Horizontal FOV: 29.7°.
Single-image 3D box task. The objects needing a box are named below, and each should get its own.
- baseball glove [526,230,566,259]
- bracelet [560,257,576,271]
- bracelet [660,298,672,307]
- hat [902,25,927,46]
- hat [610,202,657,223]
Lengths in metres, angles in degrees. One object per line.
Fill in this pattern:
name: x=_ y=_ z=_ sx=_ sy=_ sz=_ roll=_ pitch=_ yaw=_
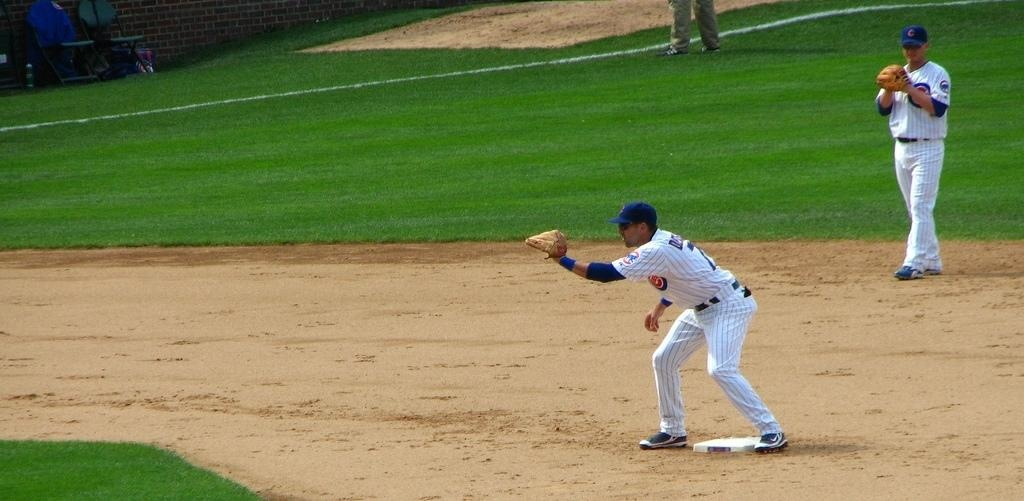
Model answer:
baseball glove: x=0.752 y=-0.175 z=37.988 sx=0.907 sy=0.491 sz=0.301 roll=0 pitch=49 yaw=-1
bracelet: x=1.220 y=0.272 z=37.920 sx=0.418 sy=0.176 sz=0.177 roll=19 pitch=26 yaw=16
bracelet: x=3.105 y=1.032 z=38.305 sx=0.159 sy=0.172 sz=0.210 roll=-39 pitch=-34 yaw=24
hat: x=8.704 y=-4.547 z=41.182 sx=0.511 sy=0.273 sz=0.625 roll=4 pitch=7 yaw=23
hat: x=2.444 y=-0.726 z=38.025 sx=0.856 sy=0.261 sz=0.478 roll=2 pitch=3 yaw=0
